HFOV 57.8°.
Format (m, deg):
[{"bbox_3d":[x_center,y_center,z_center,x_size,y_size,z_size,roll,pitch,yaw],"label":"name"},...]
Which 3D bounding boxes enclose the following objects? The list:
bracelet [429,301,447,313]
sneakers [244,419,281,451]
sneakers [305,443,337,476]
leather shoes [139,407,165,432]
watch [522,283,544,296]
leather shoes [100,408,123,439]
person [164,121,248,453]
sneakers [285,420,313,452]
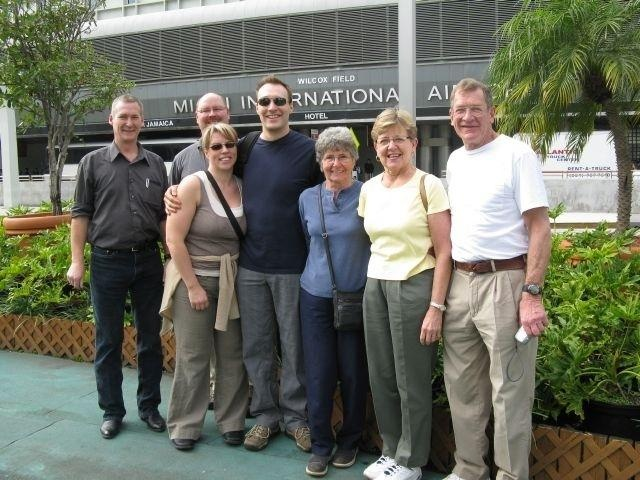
[{"bbox_3d":[0.810,0.455,3.958,0.074,0.042,0.079,10,-3,-29],"label":"bracelet"},{"bbox_3d":[-0.477,1.595,4.704,0.123,0.154,0.320,5,-3,28],"label":"sneakers"},{"bbox_3d":[-0.022,1.665,4.298,0.162,0.124,0.163,1,10,12],"label":"sneakers"},{"bbox_3d":[-1.440,1.525,4.952,0.111,0.126,0.309,-4,7,-42],"label":"leather shoes"},{"bbox_3d":[1.360,0.299,3.717,0.101,0.065,0.093,12,-3,-5],"label":"watch"},{"bbox_3d":[-1.744,1.541,4.772,0.095,0.114,0.280,7,-7,-11],"label":"leather shoes"},{"bbox_3d":[-0.939,0.373,4.633,0.713,2.551,0.513,-3,10,-8],"label":"person"},{"bbox_3d":[-0.167,1.567,4.630,0.111,0.118,0.278,-4,15,-40],"label":"sneakers"}]
